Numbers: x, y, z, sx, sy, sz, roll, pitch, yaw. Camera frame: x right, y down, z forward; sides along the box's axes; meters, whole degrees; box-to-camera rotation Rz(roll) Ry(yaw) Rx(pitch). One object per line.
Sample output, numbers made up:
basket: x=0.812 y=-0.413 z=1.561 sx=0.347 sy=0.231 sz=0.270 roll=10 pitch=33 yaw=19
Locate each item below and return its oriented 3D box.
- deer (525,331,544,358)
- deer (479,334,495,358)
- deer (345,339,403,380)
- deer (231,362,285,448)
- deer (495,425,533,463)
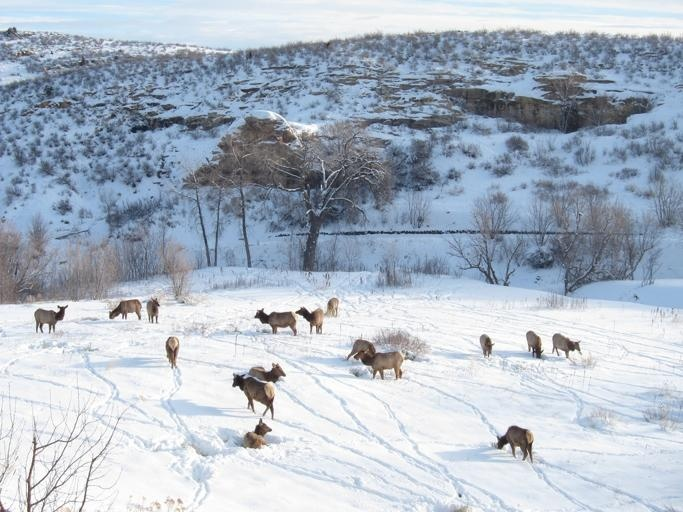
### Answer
deer: x=13.104 y=6.058 z=62.282 sx=0.988 sy=1.734 sz=0.772 roll=1 pitch=13 yaw=14
deer: x=9.934 y=6.080 z=62.200 sx=0.923 sy=1.468 sz=0.934 roll=-4 pitch=13 yaw=-4
deer: x=2.375 y=6.849 z=60.158 sx=3.277 sy=2.438 sz=1.021 roll=1 pitch=13 yaw=17
deer: x=-5.202 y=9.650 z=57.235 sx=2.154 sy=3.820 sz=2.810 roll=-5 pitch=13 yaw=-8
deer: x=10.814 y=11.654 z=57.268 sx=0.715 sy=1.974 sz=2.688 roll=-4 pitch=-1 yaw=-39
